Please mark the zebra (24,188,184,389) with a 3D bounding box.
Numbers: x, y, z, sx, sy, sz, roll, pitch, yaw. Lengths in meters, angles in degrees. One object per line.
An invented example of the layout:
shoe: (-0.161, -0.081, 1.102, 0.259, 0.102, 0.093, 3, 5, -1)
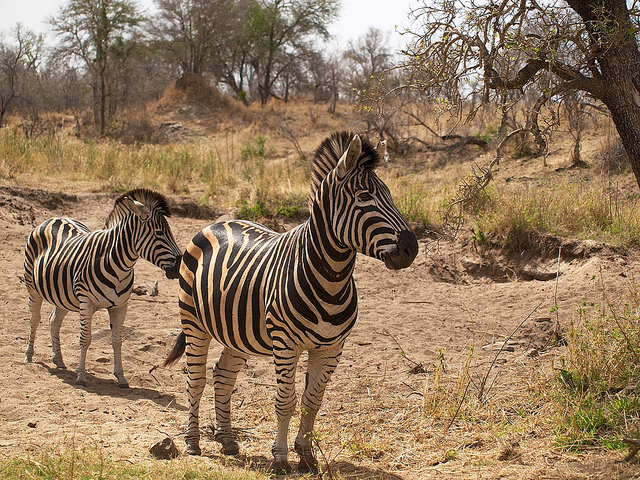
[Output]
zebra: (-3.580, 0.782, 13.766, 3.907, 3.199, 1.320, 0, 0, 40)
